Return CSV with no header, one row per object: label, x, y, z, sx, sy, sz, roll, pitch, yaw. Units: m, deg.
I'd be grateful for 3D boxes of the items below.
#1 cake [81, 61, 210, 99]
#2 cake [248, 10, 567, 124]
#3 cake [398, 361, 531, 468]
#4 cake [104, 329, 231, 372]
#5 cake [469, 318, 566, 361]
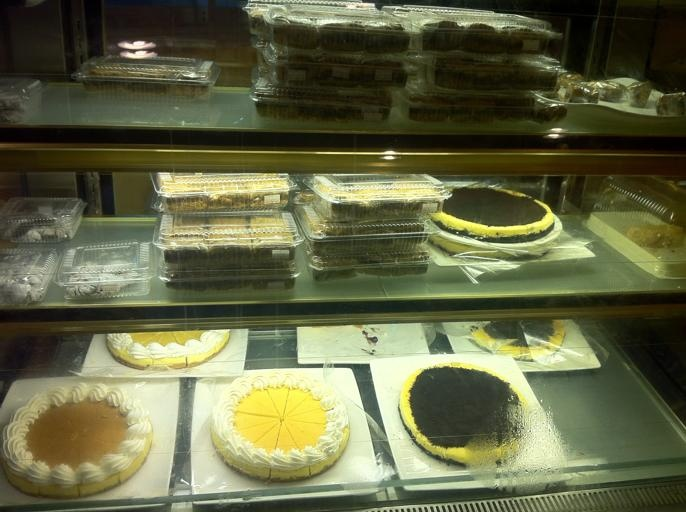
cake,-0.509,-0.438,1.367,0.290,0.044,0.132,2,31,-3
cake,0.174,-0.525,1.399,0.835,0.267,0.319,-2,32,-8
cake,0.436,0.599,1.966,0.399,0.080,0.387,22,35,30
cake,-0.668,0.358,2.009,0.374,0.063,0.301,-3,17,-16
cake,0.742,0.355,2.211,0.302,0.060,0.321,18,28,39
